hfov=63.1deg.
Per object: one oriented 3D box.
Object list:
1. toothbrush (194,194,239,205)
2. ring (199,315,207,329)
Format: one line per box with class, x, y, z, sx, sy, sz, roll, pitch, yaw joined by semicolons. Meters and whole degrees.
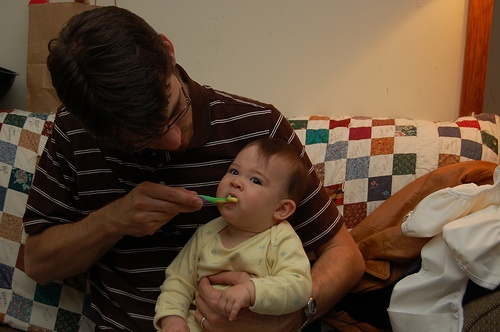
toothbrush;-0.130;0.132;1.614;0.130;0.037;0.031;4;-34;-6
ring;-0.183;0.610;1.587;0.012;0.037;0.025;9;-14;-22
